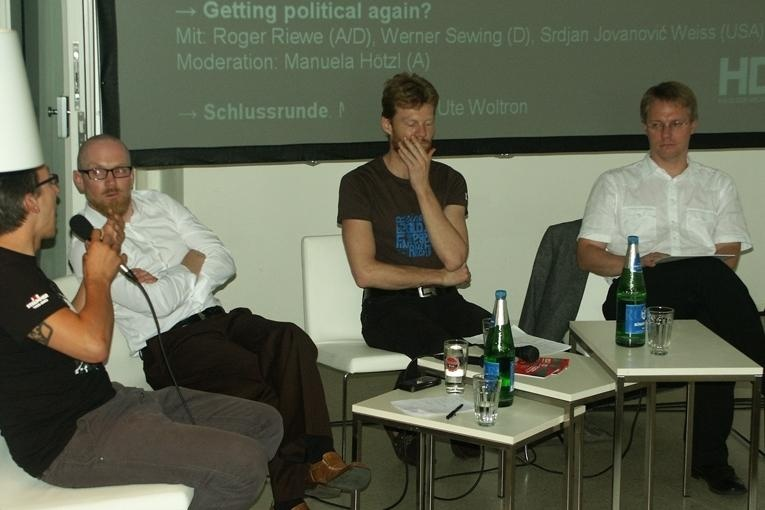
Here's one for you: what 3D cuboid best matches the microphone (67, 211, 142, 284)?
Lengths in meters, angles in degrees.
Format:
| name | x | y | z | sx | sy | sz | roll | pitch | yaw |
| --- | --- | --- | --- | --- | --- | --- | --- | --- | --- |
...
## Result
| name | x | y | z | sx | sy | sz | roll | pitch | yaw |
| --- | --- | --- | --- | --- | --- | --- | --- | --- | --- |
| microphone | -1.169 | -0.029 | 3.196 | 0.389 | 0.087 | 0.092 | 45 | 6 | 15 |

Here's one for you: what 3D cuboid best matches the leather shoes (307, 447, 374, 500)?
| name | x | y | z | sx | sy | sz | roll | pitch | yaw |
| --- | --- | --- | --- | --- | --- | --- | --- | --- | --- |
| leather shoes | -0.187 | 0.922 | 3.198 | 0.138 | 0.144 | 0.336 | 11 | -23 | -35 |

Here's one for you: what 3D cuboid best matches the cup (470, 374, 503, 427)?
| name | x | y | z | sx | sy | sz | roll | pitch | yaw |
| --- | --- | --- | --- | --- | --- | --- | --- | --- | --- |
| cup | 0.379 | 0.517 | 2.780 | 0.094 | 0.177 | 0.156 | -1 | 13 | 6 |

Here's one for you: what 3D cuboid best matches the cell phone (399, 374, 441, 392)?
| name | x | y | z | sx | sy | sz | roll | pitch | yaw |
| --- | --- | --- | --- | --- | --- | --- | --- | --- | --- |
| cell phone | 0.147 | 0.507 | 3.051 | 0.125 | 0.025 | 0.066 | -4 | 6 | -39 |
